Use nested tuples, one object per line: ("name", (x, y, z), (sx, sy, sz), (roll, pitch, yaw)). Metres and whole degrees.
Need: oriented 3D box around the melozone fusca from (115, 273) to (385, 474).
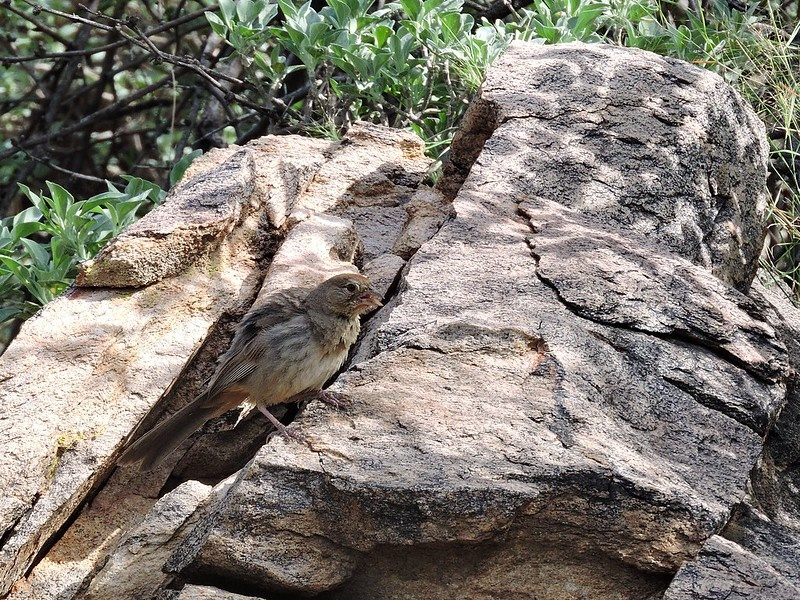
("melozone fusca", (-0.829, 0.443, 7.422), (0.724, 1.163, 1.222), (26, 34, 20))
